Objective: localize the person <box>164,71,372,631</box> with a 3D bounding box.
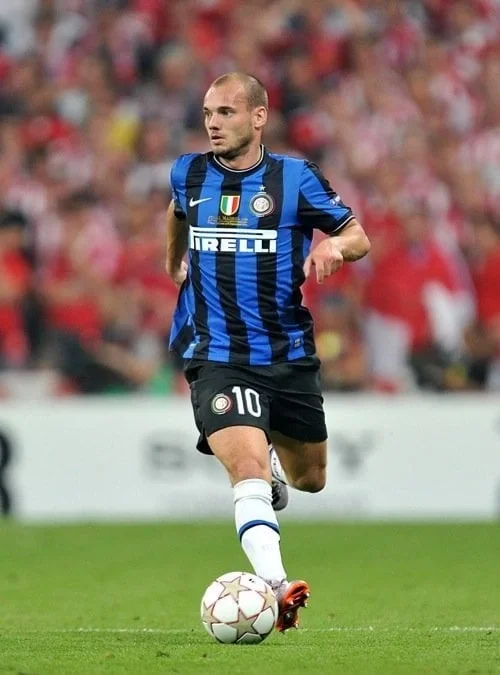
[{"bbox_3d":[0.082,0.005,3.280,0.760,1.962,1.424,-8,18,-5],"label":"person"}]
